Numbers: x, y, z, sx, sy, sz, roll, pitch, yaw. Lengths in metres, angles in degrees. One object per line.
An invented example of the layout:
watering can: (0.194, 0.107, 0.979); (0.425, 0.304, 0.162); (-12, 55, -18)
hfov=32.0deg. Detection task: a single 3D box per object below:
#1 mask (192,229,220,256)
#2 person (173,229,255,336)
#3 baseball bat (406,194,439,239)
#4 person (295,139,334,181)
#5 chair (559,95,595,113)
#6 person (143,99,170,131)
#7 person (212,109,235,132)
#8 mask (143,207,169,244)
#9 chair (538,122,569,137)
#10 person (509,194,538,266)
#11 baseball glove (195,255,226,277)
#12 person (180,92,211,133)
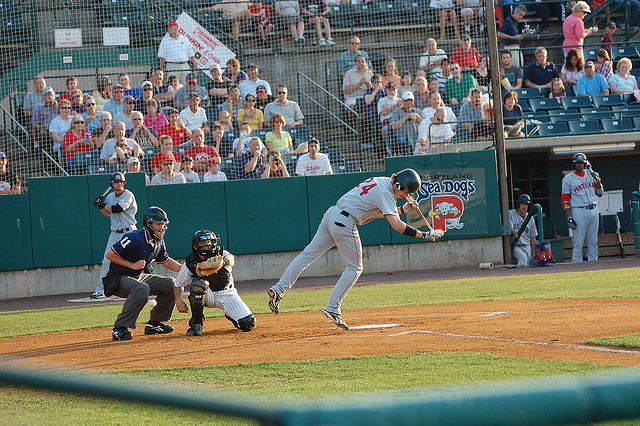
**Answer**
mask: (-2.450, 0.609, 23.754); (0.690, 0.614, 0.564); (-4, -3, 41)
person: (-2.303, 1.476, 23.690); (1.575, 2.248, 0.470); (-5, 4, -9)
baseball bat: (2.591, 0.066, 28.357); (0.174, 1.534, 0.173); (-41, 25, -4)
person: (-0.121, -1.395, 30.599); (1.138, 1.409, 0.815); (-1, 9, 10)
chair: (7.548, -3.258, 32.822); (0.939, 0.437, 0.468); (-2, 11, -4)
person: (-4.505, -2.673, 30.658); (0.637, 0.910, 0.308); (-15, -16, -11)
person: (-2.657, -2.555, 30.913); (0.581, 0.637, 0.939); (-5, 4, -5)
mask: (-3.479, 0.281, 23.772); (0.473, 0.793, 0.352); (-5, 4, -9)
chair: (6.756, -2.440, 32.376); (0.527, 0.337, 0.475); (-1, -5, 0)
person: (5.602, 0.458, 30.774); (0.734, 1.913, 0.804); (-4, 4, 14)
baseball glove: (-2.292, 1.115, 23.602); (0.577, 0.367, 0.227); (-27, 9, 4)
person: (-3.446, -2.673, 30.939); (0.847, 1.255, 0.680); (-4, 1, -25)
